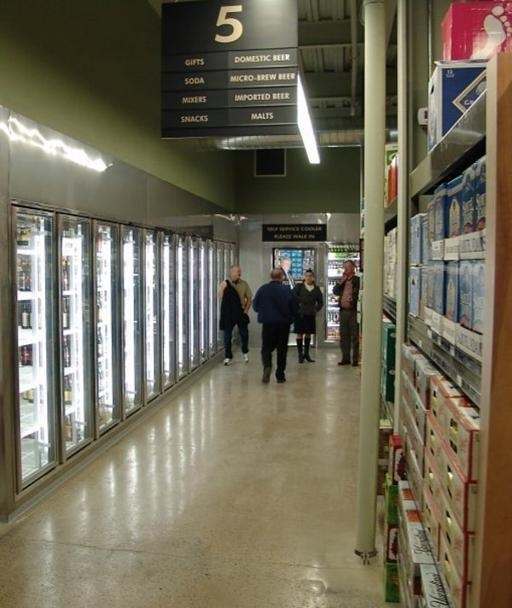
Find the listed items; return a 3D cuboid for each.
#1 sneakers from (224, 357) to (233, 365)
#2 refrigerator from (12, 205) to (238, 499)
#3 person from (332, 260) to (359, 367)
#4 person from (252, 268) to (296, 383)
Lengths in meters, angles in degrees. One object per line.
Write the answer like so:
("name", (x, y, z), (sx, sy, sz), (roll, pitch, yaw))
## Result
("sneakers", (-0.520, 1.058, 9.089), (0.076, 0.144, 0.272), (-2, -6, 0))
("refrigerator", (-1.387, 0.177, 5.395), (0.605, 2.103, 4.100), (0, 3, 15))
("person", (1.626, 0.182, 8.897), (0.448, 1.878, 0.764), (0, 2, 11))
("person", (0.264, 0.340, 7.507), (0.631, 1.722, 0.513), (0, 2, -1))
